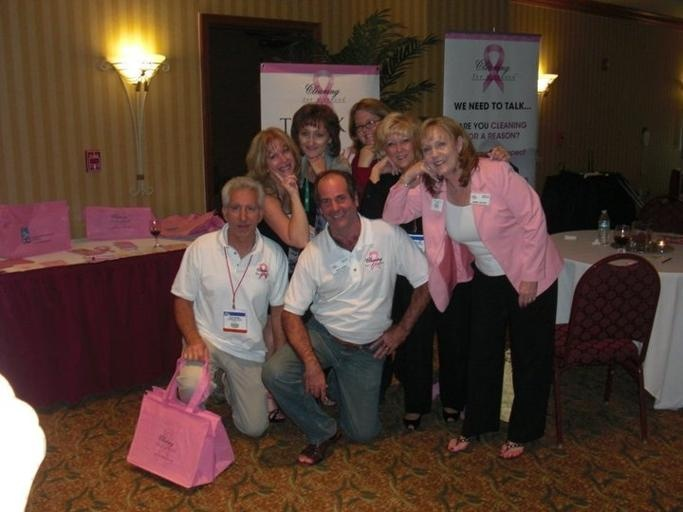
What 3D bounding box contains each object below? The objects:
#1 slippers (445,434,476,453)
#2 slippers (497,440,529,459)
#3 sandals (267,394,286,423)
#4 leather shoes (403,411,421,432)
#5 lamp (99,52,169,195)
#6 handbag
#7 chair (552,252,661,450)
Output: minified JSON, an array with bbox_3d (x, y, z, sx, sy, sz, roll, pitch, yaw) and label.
[{"bbox_3d":[0.728,1.169,3.359,0.145,0.068,0.088,-25,57,5],"label":"slippers"},{"bbox_3d":[1.029,1.178,3.278,0.137,0.088,0.062,7,59,5],"label":"slippers"},{"bbox_3d":[-0.459,1.056,3.759,0.071,0.118,0.255,-1,7,-6],"label":"sandals"},{"bbox_3d":[0.468,1.091,3.575,0.067,0.050,0.127,2,13,10],"label":"leather shoes"},{"bbox_3d":[-2.067,-1.321,5.545,0.641,1.402,0.275,-6,17,-20],"label":"lamp"},{"bbox_3d":[-0.921,1.054,3.111,0.367,0.424,0.243,18,22,20],"label":"handbag"},{"bbox_3d":[1.637,0.542,3.375,0.611,1.166,0.347,-1,16,-4],"label":"chair"}]
